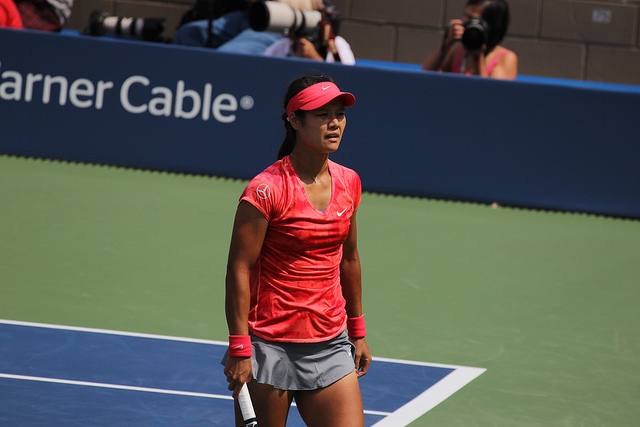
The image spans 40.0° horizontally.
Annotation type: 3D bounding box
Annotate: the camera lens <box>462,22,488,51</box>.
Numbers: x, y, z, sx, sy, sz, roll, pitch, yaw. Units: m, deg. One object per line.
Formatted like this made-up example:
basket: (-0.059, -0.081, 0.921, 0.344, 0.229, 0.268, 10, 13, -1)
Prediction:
camera lens: (1.678, -1.926, 9.566, 0.248, 0.299, 0.166, 10, 8, 9)

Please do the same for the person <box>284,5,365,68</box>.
person: (0.042, -2.062, 10.020, 0.873, 0.605, 0.627, 5, 9, -27)

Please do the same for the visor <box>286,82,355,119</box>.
visor: (0.002, -0.844, 6.623, 0.496, 0.311, 0.166, 9, 8, -4)

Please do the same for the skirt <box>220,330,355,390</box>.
skirt: (-0.187, 1.014, 6.751, 1.007, 0.523, 0.617, -1, 8, 0)

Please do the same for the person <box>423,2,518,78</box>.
person: (1.768, -1.902, 9.950, 0.843, 0.815, 0.868, 7, 6, 6)

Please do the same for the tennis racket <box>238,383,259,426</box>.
tennis racket: (-0.529, 1.417, 6.489, 0.158, 0.316, 0.114, 9, 8, 7)
